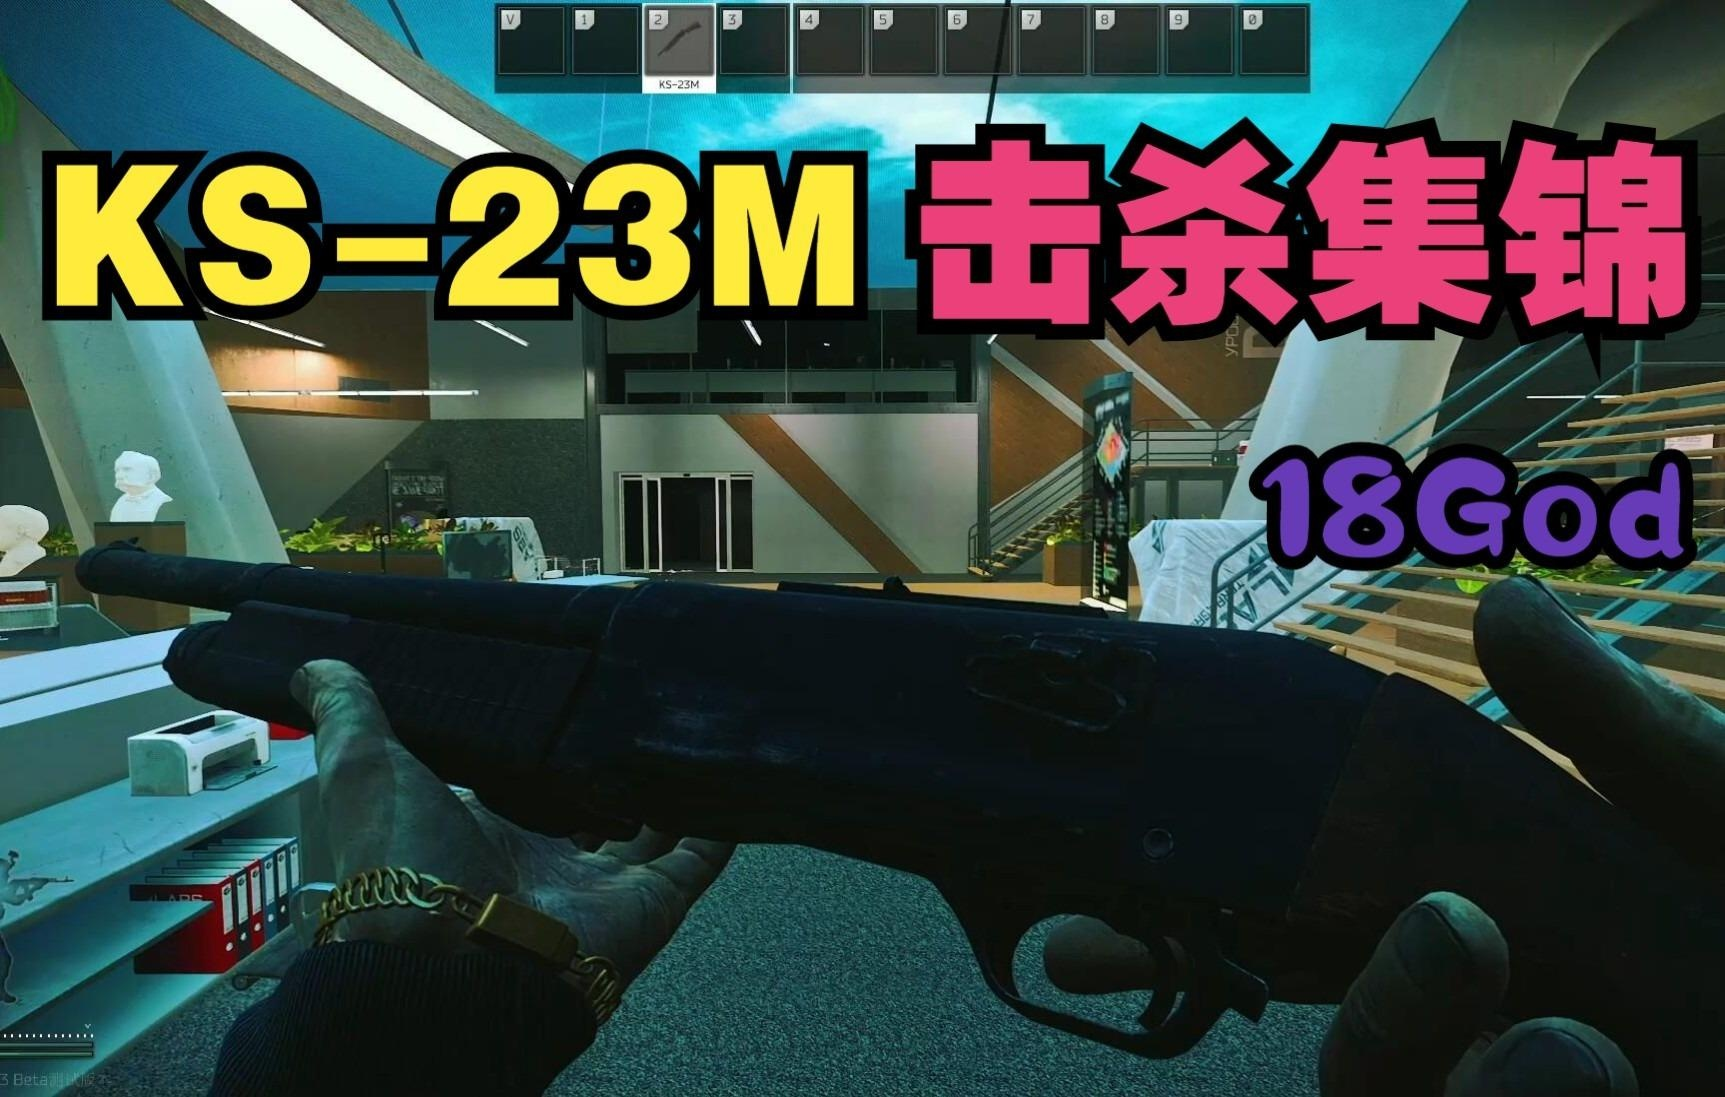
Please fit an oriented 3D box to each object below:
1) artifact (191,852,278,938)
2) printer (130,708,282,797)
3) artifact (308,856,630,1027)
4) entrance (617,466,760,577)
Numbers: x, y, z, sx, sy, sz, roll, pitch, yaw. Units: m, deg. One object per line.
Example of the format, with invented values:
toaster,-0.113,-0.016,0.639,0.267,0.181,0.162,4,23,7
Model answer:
artifact,-3.291,1.811,6.519,0.462,0.417,0.326,-1,5,10
printer,-3.476,1.099,6.675,0.468,0.303,0.682,1,4,8
artifact,-1.473,1.554,4.690,0.911,0.227,0.641,26,23,-10
entrance,-2.642,-0.352,18.835,2.277,1.488,0.174,1,0,22
